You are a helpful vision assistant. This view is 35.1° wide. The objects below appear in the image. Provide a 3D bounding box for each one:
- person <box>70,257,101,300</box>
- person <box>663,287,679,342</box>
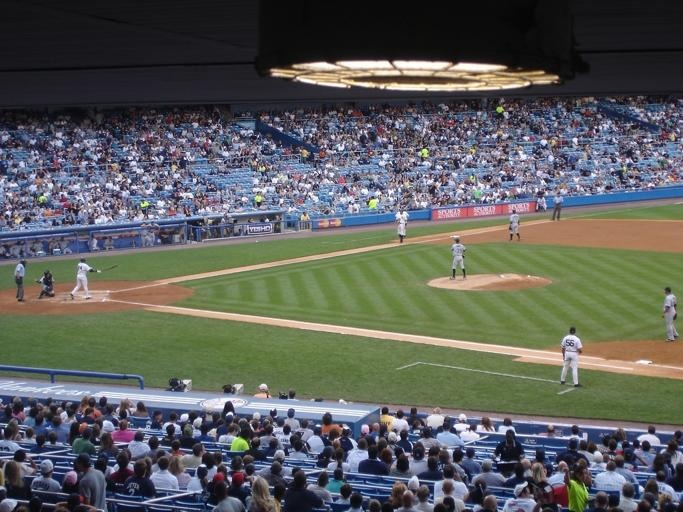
[{"bbox_3d":[-7.834,0.712,33.313,0.893,1.233,0.975,2,10,24],"label":"person"},{"bbox_3d":[8.329,1.457,27.372,0.362,1.327,2.622,-1,-1,17],"label":"person"}]
